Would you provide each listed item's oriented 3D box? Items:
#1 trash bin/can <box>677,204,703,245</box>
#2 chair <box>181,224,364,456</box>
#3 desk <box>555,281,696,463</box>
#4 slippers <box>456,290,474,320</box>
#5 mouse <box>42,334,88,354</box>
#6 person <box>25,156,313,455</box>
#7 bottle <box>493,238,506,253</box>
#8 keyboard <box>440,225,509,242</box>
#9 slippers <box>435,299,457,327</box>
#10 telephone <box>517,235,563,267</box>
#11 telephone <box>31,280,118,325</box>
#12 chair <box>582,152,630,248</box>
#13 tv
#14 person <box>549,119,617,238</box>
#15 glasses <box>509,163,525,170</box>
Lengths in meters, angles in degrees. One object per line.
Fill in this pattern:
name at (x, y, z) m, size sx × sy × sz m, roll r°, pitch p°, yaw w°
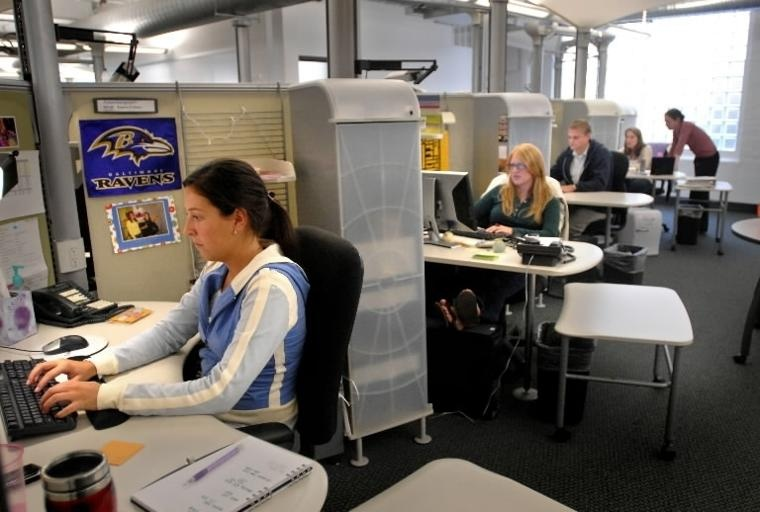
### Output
trash bin/can at (3.908, -0.391, 6.891) m, size 0.256 × 0.516 × 0.348 m, roll 6°, pitch 19°, yaw 28°
chair at (-0.496, 0.248, 2.422) m, size 0.691 × 1.043 × 0.744 m, roll -3°, pitch 11°, yaw -35°
desk at (1.405, 0.626, 3.261) m, size 0.785 × 0.677 × 0.944 m, roll 5°, pitch 17°, yaw 30°
slippers at (0.535, 0.301, 3.335) m, size 0.131 × 0.186 × 0.045 m, roll -1°, pitch 17°, yaw 8°
mouse at (-1.307, 0.371, 2.254) m, size 0.079 × 0.044 × 0.139 m, roll 10°, pitch 10°, yaw 44°
person at (-0.732, 0.172, 2.051) m, size 0.967 × 0.939 × 0.705 m, roll 0°, pitch 6°, yaw -35°
bottle at (0.770, -0.066, 3.522) m, size 0.080 × 0.076 × 0.079 m, roll 0°, pitch 6°, yaw 8°
keyboard at (0.692, -0.153, 3.833) m, size 0.330 × 0.039 × 0.168 m, roll 7°, pitch 11°, yaw 42°
slippers at (0.417, 0.352, 3.387) m, size 0.049 × 0.137 × 0.132 m, roll -22°, pitch -7°, yaw 3°
telephone at (0.989, -0.027, 3.357) m, size 0.266 × 0.120 × 0.322 m, roll 2°, pitch 17°, yaw 18°
telephone at (-1.439, 0.222, 2.563) m, size 0.352 × 0.136 × 0.302 m, roll 8°, pitch 15°, yaw 21°
chair at (2.600, -0.594, 6.364) m, size 0.663 × 1.031 × 0.695 m, roll -5°, pitch 0°, yaw 21°
tv at (0.384, -0.319, 3.709) m, size 0.273 × 0.487 × 0.510 m, roll -10°, pitch 15°, yaw -43°
person at (2.245, -0.788, 6.161) m, size 0.767 × 1.350 × 0.701 m, roll -15°, pitch 14°, yaw -26°
glasses at (1.012, -0.652, 3.976) m, size 0.103 × 0.044 × 0.027 m, roll 3°, pitch 18°, yaw 20°
